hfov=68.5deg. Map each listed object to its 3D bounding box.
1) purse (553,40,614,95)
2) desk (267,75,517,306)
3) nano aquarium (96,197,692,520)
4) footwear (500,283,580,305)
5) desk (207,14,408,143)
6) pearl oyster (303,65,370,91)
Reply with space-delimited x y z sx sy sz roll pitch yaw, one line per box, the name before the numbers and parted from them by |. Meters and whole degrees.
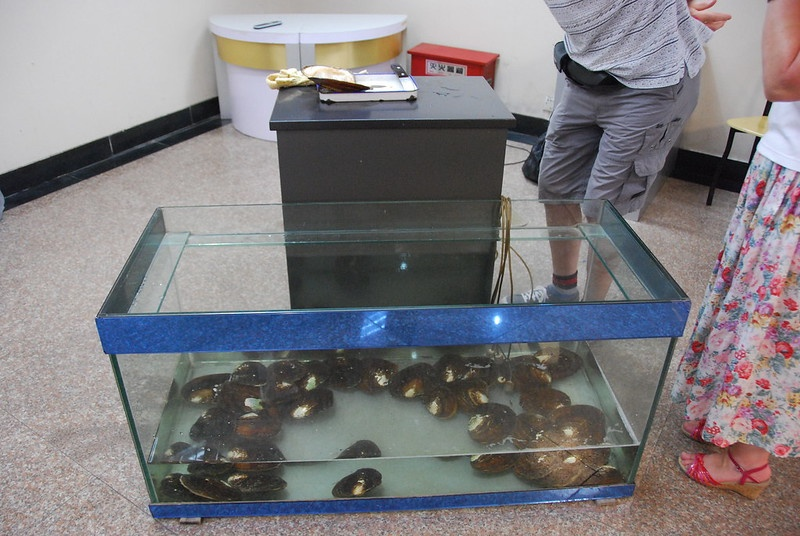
purse | 0.692 -0.746 2.239 0.225 0.166 0.095 29 32 23
desk | -0.029 -0.259 2.033 0.770 0.961 0.552 -2 44 -2
nano aquarium | -0.007 0.638 2.612 2.437 1.315 0.919 -1 59 -1
footwear | 0.401 0.071 1.710 0.237 0.086 0.076 2 19 2
desk | -0.688 -1.455 4.541 1.491 0.834 0.725 -2 34 -6
pearl oyster | -0.256 -0.744 2.328 0.203 0.049 0.139 -1 31 -6
